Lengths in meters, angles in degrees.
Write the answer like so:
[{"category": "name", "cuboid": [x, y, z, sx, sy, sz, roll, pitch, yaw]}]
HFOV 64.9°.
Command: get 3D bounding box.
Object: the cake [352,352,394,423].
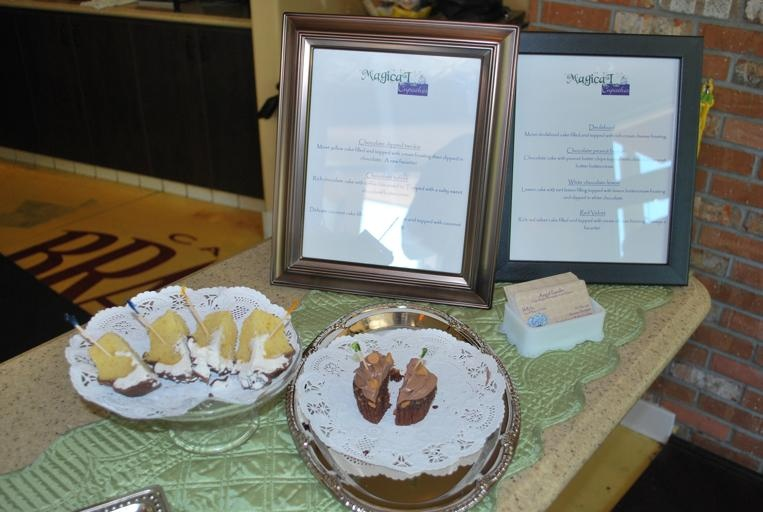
[{"category": "cake", "cuboid": [-0.008, 0.287, 1.285, 0.102, 0.066, 0.183, 1, 46, 7]}]
